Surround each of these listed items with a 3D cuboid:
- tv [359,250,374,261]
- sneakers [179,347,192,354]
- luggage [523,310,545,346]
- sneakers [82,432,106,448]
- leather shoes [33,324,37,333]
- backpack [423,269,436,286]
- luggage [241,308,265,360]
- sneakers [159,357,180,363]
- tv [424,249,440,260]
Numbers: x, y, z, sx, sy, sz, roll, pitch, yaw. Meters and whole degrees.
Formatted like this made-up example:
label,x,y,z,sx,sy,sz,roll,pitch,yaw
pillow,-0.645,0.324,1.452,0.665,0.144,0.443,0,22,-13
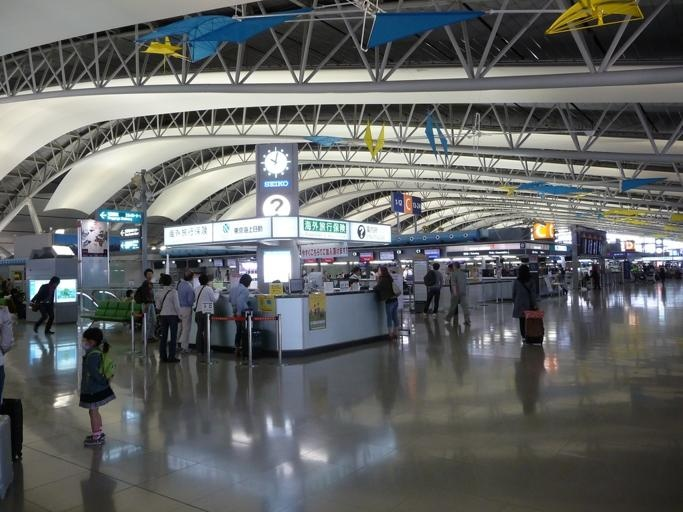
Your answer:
label,x,y,z,sx,sy,sz,roll,pitch,yaw
tv,1.848,0.008,38.056,0.781,0.636,1.162,2,-4,-16
sneakers,-3.765,2.297,12.700,0.311,0.151,0.103,-9,-2,38
luggage,4.572,1.713,12.546,0.428,0.795,0.355,-3,-1,16
sneakers,-3.145,2.374,6.716,0.343,0.235,0.125,4,-8,5
leather shoes,-10.017,2.389,17.253,0.116,0.268,0.607,-2,-1,-31
backpack,3.164,0.763,18.966,0.476,0.871,0.614,4,-1,14
luggage,-1.956,1.821,11.417,0.349,0.920,0.361,2,2,25
sneakers,-3.719,2.298,11.437,0.444,0.173,0.144,-2,-1,-11
tv,6.664,-0.223,38.707,1.113,0.757,0.999,-3,-1,11
